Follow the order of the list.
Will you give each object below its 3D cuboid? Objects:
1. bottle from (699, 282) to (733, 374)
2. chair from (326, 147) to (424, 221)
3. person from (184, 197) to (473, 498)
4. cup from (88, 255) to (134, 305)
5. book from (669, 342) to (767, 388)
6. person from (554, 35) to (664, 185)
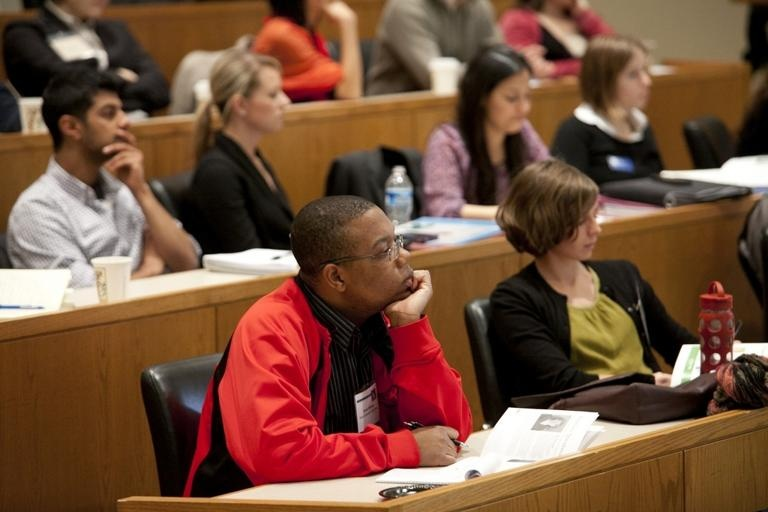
[{"bbox_3d":[1.017,0.221,2.081,0.092,0.278,0.294,0,8,26],"label":"bottle"},{"bbox_3d":[-0.059,-0.366,4.070,0.425,0.574,0.441,0,2,-39],"label":"chair"},{"bbox_3d":[-0.096,0.230,2.375,0.840,1.430,0.649,-1,1,20],"label":"person"},{"bbox_3d":[-0.975,0.091,2.473,0.136,0.144,0.139,-1,7,0],"label":"cup"},{"bbox_3d":[1.032,0.329,2.198,0.207,0.053,0.204,-6,5,40],"label":"book"},{"bbox_3d":[1.356,-0.856,4.088,0.885,0.819,0.462,-20,22,-37],"label":"person"}]
